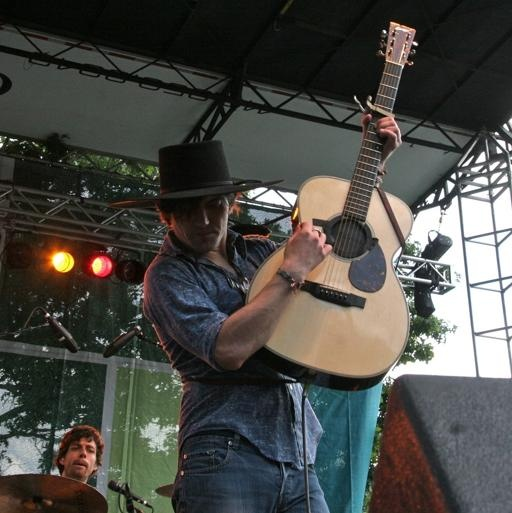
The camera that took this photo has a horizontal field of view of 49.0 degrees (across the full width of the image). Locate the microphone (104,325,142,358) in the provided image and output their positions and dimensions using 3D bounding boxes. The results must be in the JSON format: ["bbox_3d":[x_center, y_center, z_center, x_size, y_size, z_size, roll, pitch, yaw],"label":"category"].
[{"bbox_3d":[-1.451,0.921,5.992,0.309,0.286,1.031,5,-13,-15],"label":"microphone"}]

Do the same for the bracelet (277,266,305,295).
[{"bbox_3d":[0.103,0.068,1.630,0.082,0.021,0.059,34,-5,26],"label":"bracelet"}]

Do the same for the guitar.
[{"bbox_3d":[0.308,-0.090,1.942,0.521,1.075,0.183,22,-33,-10],"label":"guitar"}]

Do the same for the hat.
[{"bbox_3d":[-0.250,-0.236,1.924,0.397,0.109,0.322,-11,6,11],"label":"hat"}]
